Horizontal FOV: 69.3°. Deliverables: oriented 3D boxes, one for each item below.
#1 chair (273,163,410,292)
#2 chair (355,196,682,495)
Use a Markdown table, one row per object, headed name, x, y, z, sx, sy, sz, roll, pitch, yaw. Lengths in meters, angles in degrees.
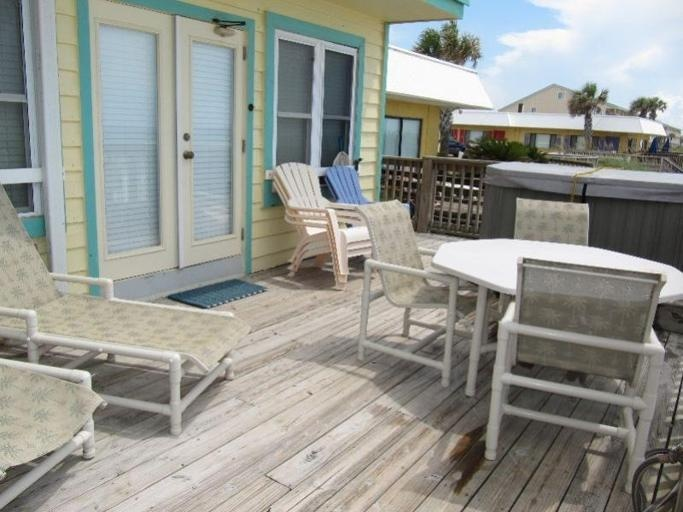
| name | x | y | z | sx | sy | sz | roll | pitch | yaw |
| --- | --- | --- | --- | --- | --- | --- | --- | --- | --- |
| chair | -0.361 | -0.511 | 6.095 | 1.762 | 1.505 | 1.328 | 15 | 22 | 36 |
| chair | 1.236 | 0.247 | 3.724 | 1.802 | 1.207 | 1.854 | -11 | 17 | -36 |
